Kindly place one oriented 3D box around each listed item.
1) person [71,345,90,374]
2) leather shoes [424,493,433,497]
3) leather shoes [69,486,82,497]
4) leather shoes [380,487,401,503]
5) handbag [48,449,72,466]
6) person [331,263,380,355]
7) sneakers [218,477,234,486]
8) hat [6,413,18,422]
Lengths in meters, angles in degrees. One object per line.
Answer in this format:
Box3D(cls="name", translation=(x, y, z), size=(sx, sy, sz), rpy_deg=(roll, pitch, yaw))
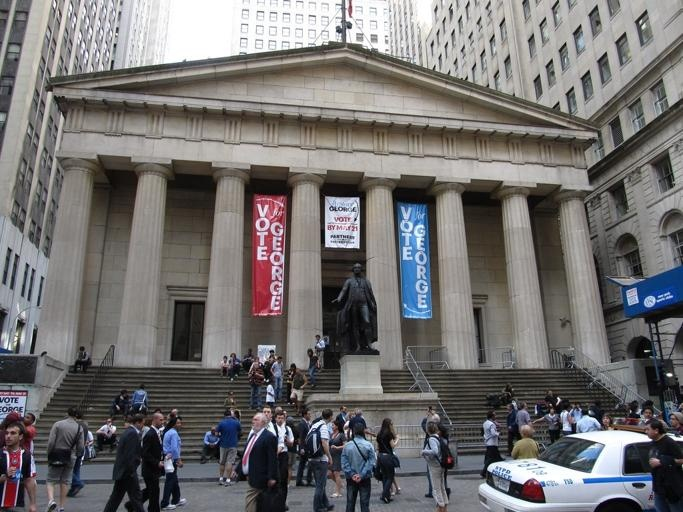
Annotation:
Box3D(cls="person", translation=(-12.109, 4.836, 24.466), size=(0.712, 1.198, 1.031), rpy_deg=(7, -18, -26))
Box3D(cls="leather shoes", translation=(2.063, 5.657, 12.412), size=(0.181, 0.131, 0.075), rpy_deg=(0, -8, 29))
Box3D(cls="leather shoes", translation=(-6.567, 5.798, 12.930), size=(0.264, 0.194, 0.417), rpy_deg=(0, -16, -5))
Box3D(cls="leather shoes", translation=(1.144, 5.665, 12.332), size=(0.217, 0.304, 0.687), rpy_deg=(0, -7, 22))
Box3D(cls="handbag", translation=(-5.885, 4.200, 10.950), size=(0.313, 0.325, 0.184), rpy_deg=(0, -13, -15))
Box3D(cls="person", translation=(0.584, 2.014, 20.309), size=(1.506, 3.498, 1.048), rpy_deg=(-1, -15, 0))
Box3D(cls="sneakers", translation=(-3.100, 6.070, 14.070), size=(0.151, 0.205, 0.466), rpy_deg=(7, -25, 7))
Box3D(cls="hat", translation=(-5.291, 2.595, 8.455), size=(0.187, 0.144, 0.406), rpy_deg=(9, -19, -31))
